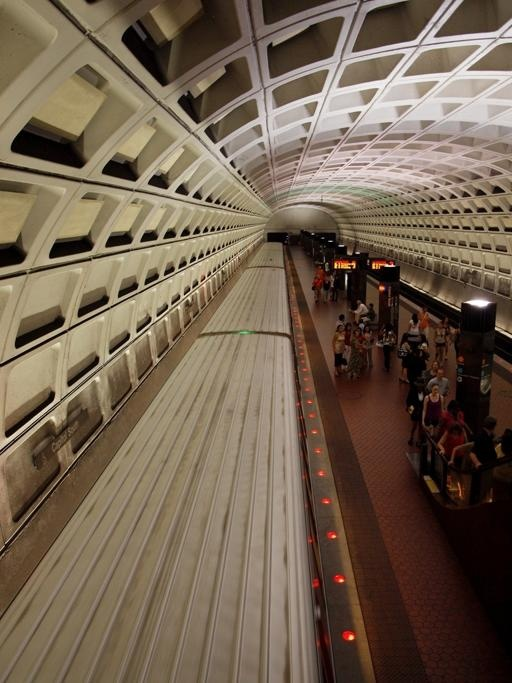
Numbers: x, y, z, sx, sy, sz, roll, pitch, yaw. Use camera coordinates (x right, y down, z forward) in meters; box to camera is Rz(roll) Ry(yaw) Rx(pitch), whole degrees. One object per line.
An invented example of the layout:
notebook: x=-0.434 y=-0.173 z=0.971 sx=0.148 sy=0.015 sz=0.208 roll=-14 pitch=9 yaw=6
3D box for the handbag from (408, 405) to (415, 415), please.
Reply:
handbag: x=3.796 y=1.869 z=8.356 sx=0.096 sy=0.324 sz=0.189 roll=9 pitch=-11 yaw=-40
